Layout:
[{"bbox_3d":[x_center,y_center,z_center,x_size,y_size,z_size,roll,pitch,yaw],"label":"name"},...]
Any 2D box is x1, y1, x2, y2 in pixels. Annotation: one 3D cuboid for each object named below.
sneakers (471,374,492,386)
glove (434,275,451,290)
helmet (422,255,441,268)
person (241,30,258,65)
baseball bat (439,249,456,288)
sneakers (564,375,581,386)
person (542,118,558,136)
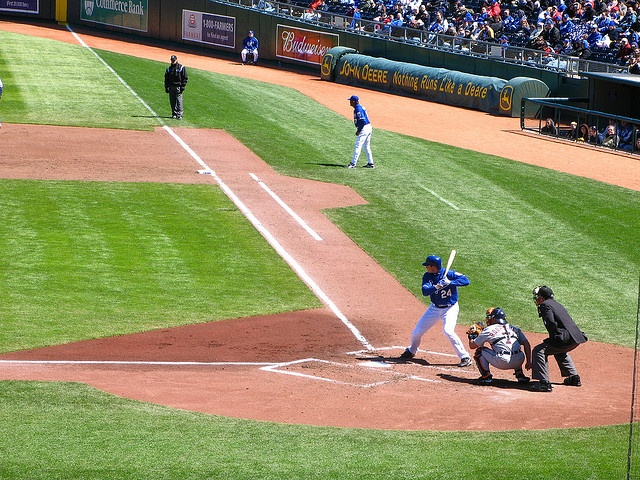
[{"bbox_3d":[3.622,3.089,29.741,0.423,0.232,0.258,7,13,9],"label":"sneakers"},{"bbox_3d":[2.777,0.977,30.137,0.356,0.102,0.209,-11,29,-28],"label":"glove"},{"bbox_3d":[2.540,0.498,30.180,0.443,0.163,0.251,5,13,8],"label":"helmet"},{"bbox_3d":[-3.157,-8.755,61.337,0.703,1.502,0.828,7,14,-5],"label":"person"},{"bbox_3d":[3.041,0.711,31.799,0.186,0.122,1.061,25,59,18],"label":"baseball bat"},{"bbox_3d":[5.639,3.132,29.889,0.410,0.197,0.191,8,14,32],"label":"sneakers"},{"bbox_3d":[8.403,-4.069,48.604,0.525,0.573,0.814,5,13,-7],"label":"person"}]
